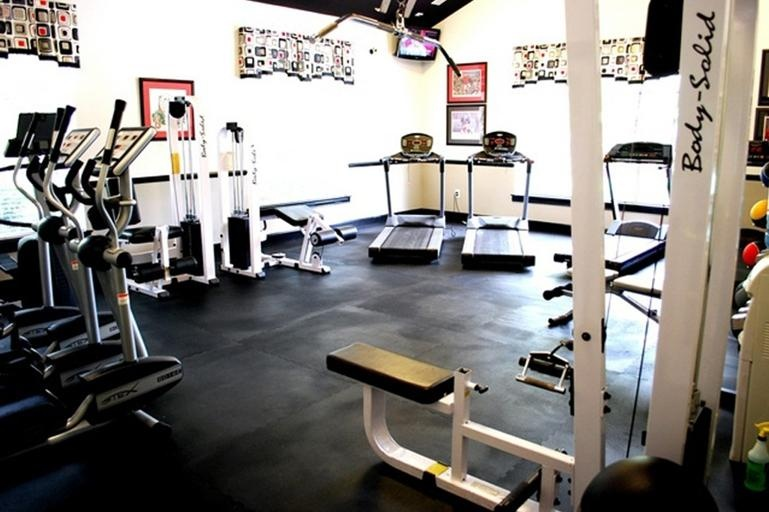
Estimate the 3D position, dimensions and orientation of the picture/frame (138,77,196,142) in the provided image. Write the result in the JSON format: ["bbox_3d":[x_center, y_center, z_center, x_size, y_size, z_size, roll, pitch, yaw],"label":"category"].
[{"bbox_3d":[-2.859,-1.918,7.037,0.733,0.828,0.058,-2,-1,-6],"label":"picture/frame"}]

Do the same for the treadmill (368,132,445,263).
[{"bbox_3d":[0.393,-0.960,7.985,1.032,1.609,1.890,2,16,10],"label":"treadmill"}]

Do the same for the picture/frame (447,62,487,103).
[{"bbox_3d":[1.478,-3.155,9.726,0.815,0.679,0.070,-9,21,-19],"label":"picture/frame"}]

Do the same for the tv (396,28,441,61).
[{"bbox_3d":[0.580,-3.918,9.794,0.536,0.537,0.889,8,15,35],"label":"tv"}]
